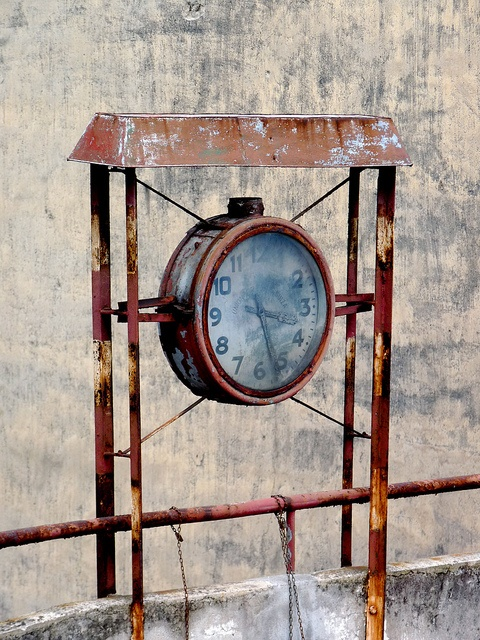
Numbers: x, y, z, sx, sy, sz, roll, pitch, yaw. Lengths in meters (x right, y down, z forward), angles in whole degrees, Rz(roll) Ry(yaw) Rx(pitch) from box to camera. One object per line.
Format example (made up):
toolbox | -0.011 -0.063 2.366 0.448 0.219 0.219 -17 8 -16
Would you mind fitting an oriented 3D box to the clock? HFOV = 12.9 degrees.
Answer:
clock | -0.033 -0.115 13.175 1.134 0.468 1.694 -3 92 -38
